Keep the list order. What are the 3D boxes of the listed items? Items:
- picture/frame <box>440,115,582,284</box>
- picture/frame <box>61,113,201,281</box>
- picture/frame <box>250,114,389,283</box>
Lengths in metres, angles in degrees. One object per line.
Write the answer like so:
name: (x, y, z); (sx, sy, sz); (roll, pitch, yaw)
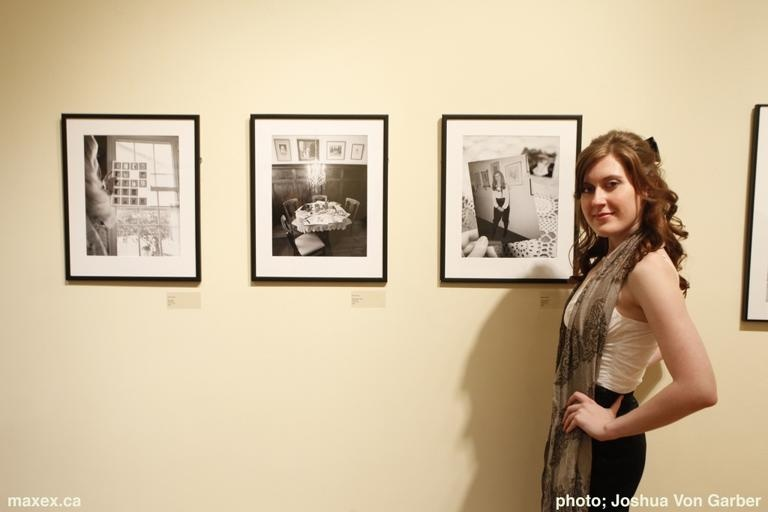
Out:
picture/frame: (0.675, -0.331, 3.097); (0.883, 1.057, 0.040); (0, 6, 2)
picture/frame: (-1.318, -0.348, 3.131); (0.872, 1.057, 0.039); (1, 5, 2)
picture/frame: (-0.333, -0.342, 3.117); (0.863, 1.036, 0.039); (1, 6, 3)
